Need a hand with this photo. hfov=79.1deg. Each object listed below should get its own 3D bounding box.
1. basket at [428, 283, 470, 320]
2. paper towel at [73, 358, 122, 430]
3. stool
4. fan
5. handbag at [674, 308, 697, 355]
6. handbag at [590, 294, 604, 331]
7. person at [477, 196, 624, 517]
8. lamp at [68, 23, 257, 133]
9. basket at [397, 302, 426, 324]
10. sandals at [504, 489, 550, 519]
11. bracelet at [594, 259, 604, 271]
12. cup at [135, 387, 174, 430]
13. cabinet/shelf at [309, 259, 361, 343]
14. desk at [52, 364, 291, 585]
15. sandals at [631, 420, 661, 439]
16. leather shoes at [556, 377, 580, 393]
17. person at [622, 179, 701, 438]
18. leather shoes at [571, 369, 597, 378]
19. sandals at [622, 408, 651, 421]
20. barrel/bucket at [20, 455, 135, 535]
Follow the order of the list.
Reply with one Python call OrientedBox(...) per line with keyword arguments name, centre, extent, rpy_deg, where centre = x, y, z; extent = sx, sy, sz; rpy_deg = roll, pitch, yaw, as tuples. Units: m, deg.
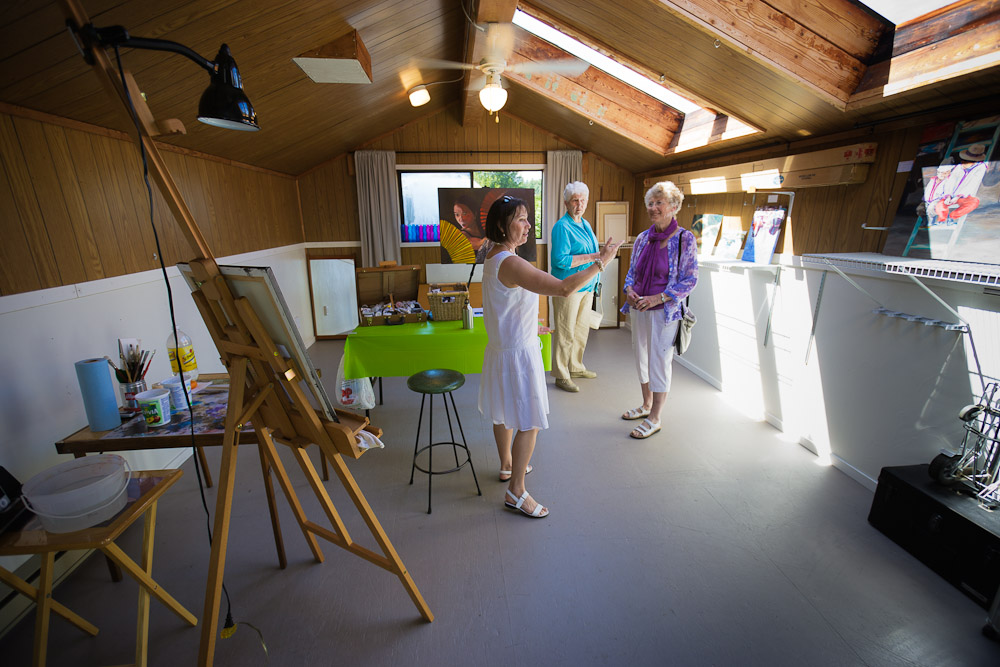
OrientedBox(name="basket", centre=(-0.448, -0.290, 5.340), extent=(0.298, 0.200, 0.410), rpy_deg=(0, 8, -1))
OrientedBox(name="paper towel", centre=(-2.475, 0.382, 3.760), extent=(0.190, 0.441, 0.182), rpy_deg=(-13, 15, -41))
OrientedBox(name="stool", centre=(-0.444, 0.884, 4.724), extent=(0.589, 1.023, 0.606), rpy_deg=(-19, 32, -37))
OrientedBox(name="fan", centre=(-0.075, -2.536, 5.535), extent=(0.932, 0.316, 0.929), rpy_deg=(-2, 7, -1))
OrientedBox(name="handbag", centre=(1.561, -0.030, 5.125), extent=(0.204, 0.461, 0.374), rpy_deg=(8, 13, 17))
OrientedBox(name="handbag", centre=(1.055, -0.246, 6.652), extent=(0.249, 0.308, 0.437), rpy_deg=(2, 8, 9))
OrientedBox(name="person", centre=(0.237, 0.206, 3.987), extent=(0.700, 2.185, 0.353), rpy_deg=(7, 15, 40))
OrientedBox(name="lamp", centre=(-1.762, -1.397, 3.405), extent=(0.439, 0.610, 1.101), rpy_deg=(21, 23, 26))
OrientedBox(name="basket", centre=(-0.763, -0.190, 5.253), extent=(0.245, 0.164, 0.280), rpy_deg=(-4, 11, -8))
OrientedBox(name="sandals", centre=(0.180, 1.209, 4.266), extent=(0.324, 0.142, 0.146), rpy_deg=(7, 11, 21))
OrientedBox(name="bracelet", centre=(0.624, -0.440, 3.874), extent=(0.066, 0.079, 0.030), rpy_deg=(8, -15, -31))
OrientedBox(name="cup", centre=(-2.188, 0.474, 3.798), extent=(0.192, 0.188, 0.240), rpy_deg=(1, 10, 0))
OrientedBox(name="cabinet/shelf", centre=(-2.129, -0.462, 7.778), extent=(0.591, 1.027, 0.201), rpy_deg=(-6, 12, -17))
OrientedBox(name="desk", centre=(-2.073, 0.614, 3.735), extent=(1.240, 0.970, 1.286), rpy_deg=(-8, 15, -41))
OrientedBox(name="sandals", centre=(1.188, 0.795, 5.019), extent=(0.120, 0.090, 0.251), rpy_deg=(8, 9, 44))
OrientedBox(name="leather shoes", centre=(0.632, 0.497, 5.894), extent=(0.274, 0.110, 0.093), rpy_deg=(14, 21, 41))
OrientedBox(name="person", centre=(1.294, -0.177, 4.938), extent=(0.530, 2.058, 0.432), rpy_deg=(0, 12, 11))
OrientedBox(name="leather shoes", centre=(0.865, 0.416, 6.225), extent=(0.232, 0.093, 0.092), rpy_deg=(0, 5, 3))
OrientedBox(name="sandals", centre=(1.181, 0.713, 5.273), extent=(0.216, 0.084, 0.103), rpy_deg=(0, 11, -6))
OrientedBox(name="barrel/bucket", centre=(-2.290, 0.857, 3.289), extent=(0.419, 0.243, 0.419), rpy_deg=(13, 13, -3))
